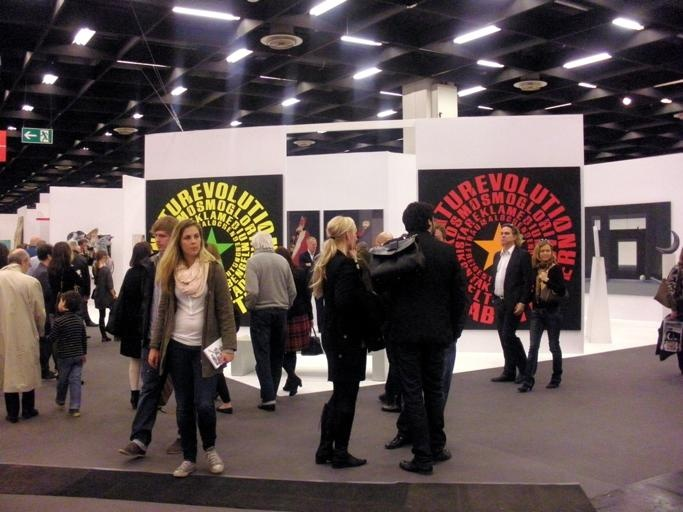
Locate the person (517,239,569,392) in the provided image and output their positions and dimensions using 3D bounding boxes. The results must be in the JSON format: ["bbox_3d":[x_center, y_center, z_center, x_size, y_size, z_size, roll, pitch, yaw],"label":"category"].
[{"bbox_3d":[2.246,0.663,5.990,0.689,1.658,0.420,-1,1,-16],"label":"person"}]

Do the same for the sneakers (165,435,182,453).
[{"bbox_3d":[-1.338,1.506,4.187,0.110,0.107,0.158,-1,1,-20],"label":"sneakers"}]

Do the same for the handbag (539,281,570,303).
[{"bbox_3d":[2.386,0.438,5.916,0.278,0.279,0.165,1,-2,8],"label":"handbag"}]

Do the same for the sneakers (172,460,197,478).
[{"bbox_3d":[-1.108,1.519,3.716,0.068,0.079,0.185,-4,-15,12],"label":"sneakers"}]

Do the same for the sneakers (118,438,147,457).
[{"bbox_3d":[-1.541,1.458,3.959,0.104,0.115,0.268,6,-17,31],"label":"sneakers"}]

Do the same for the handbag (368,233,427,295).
[{"bbox_3d":[0.382,0.036,3.710,0.386,0.357,0.165,-13,-33,14],"label":"handbag"}]

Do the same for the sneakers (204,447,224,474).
[{"bbox_3d":[-0.925,1.467,3.798,0.228,0.162,0.109,0,2,42],"label":"sneakers"}]
